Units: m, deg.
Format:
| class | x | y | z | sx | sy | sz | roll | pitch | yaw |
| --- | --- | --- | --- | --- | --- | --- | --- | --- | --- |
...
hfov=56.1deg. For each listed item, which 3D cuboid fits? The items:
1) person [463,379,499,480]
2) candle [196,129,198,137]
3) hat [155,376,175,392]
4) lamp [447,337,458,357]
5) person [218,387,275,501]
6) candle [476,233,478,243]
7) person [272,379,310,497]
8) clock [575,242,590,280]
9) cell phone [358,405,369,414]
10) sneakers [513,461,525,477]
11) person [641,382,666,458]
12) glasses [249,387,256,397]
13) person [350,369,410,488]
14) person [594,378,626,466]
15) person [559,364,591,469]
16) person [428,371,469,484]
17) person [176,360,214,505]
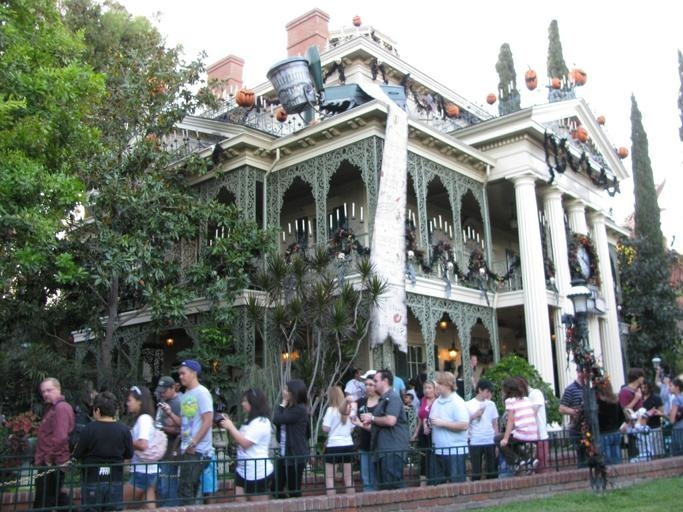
| class | x | y | z | sx | sy | sz | roll | pitch | yaw |
| --- | --- | --- | --- | --- | --- | --- | --- | --- | --- |
| person | 2.516 | 3.257 | 11.295 | 0.650 | 2.171 | 0.617 | -3 | 2 | 1 |
| candle | -5.463 | -4.630 | 24.217 | 0.122 | 0.256 | 0.037 | 0 | -16 | -13 |
| hat | -2.891 | 2.102 | 10.533 | 0.206 | 0.197 | 0.316 | 0 | -2 | 13 |
| lamp | 4.097 | 3.415 | 23.631 | 0.423 | 0.889 | 0.418 | -6 | -12 | 22 |
| person | -1.333 | 2.700 | 9.212 | 0.683 | 1.536 | 0.696 | -1 | -16 | -8 |
| candle | 5.314 | -0.752 | 25.325 | 0.042 | 0.353 | 0.245 | -12 | -18 | 28 |
| person | -0.836 | 2.985 | 10.148 | 0.569 | 2.129 | 0.599 | 5 | 7 | -12 |
| clock | 9.003 | 0.167 | 23.751 | 0.261 | 1.080 | 1.391 | -12 | -19 | 29 |
| cell phone | 0.368 | 2.658 | 11.124 | 0.153 | 0.163 | 0.274 | -2 | -8 | 3 |
| sneakers | 3.042 | 3.645 | 11.022 | 0.263 | 0.201 | 0.084 | 4 | -18 | -26 |
| person | 6.556 | 3.458 | 13.607 | 0.515 | 1.518 | 2.426 | -11 | -19 | 25 |
| glasses | -1.283 | 1.963 | 9.258 | 0.122 | 0.122 | 0.093 | -18 | -12 | 31 |
| person | 0.681 | 2.934 | 10.419 | 0.682 | 2.161 | 0.685 | -8 | 11 | -38 |
| person | 5.234 | 3.435 | 12.717 | 0.683 | 1.872 | 0.584 | -4 | 4 | -6 |
| person | 4.461 | 3.064 | 12.264 | 0.516 | 1.804 | 1.214 | -8 | -17 | 17 |
| person | 1.727 | 2.786 | 10.450 | 0.678 | 1.716 | 0.739 | -15 | -19 | 33 |
| person | -2.109 | 2.476 | 9.259 | 0.472 | 2.054 | 0.935 | 1 | -17 | -14 |
